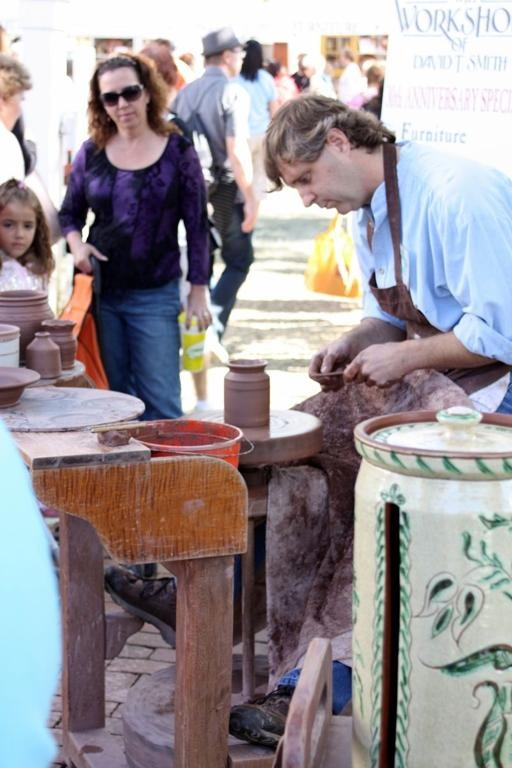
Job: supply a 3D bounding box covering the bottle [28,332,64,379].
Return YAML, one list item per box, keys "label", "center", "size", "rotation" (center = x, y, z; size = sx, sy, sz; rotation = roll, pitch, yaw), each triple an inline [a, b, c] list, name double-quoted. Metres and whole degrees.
- label: "bottle"
  center: [-0.617, -0.081, 3.206]
  size: [0.105, 0.126, 0.124]
  rotation: [-7, 11, -41]

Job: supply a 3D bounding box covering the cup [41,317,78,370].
- label: "cup"
  center: [-0.594, -0.134, 3.431]
  size: [0.134, 0.175, 0.139]
  rotation: [-2, 2, 0]

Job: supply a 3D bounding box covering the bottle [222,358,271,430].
- label: "bottle"
  center: [-0.024, 0.025, 3.083]
  size: [0.128, 0.179, 0.215]
  rotation: [0, 8, -2]

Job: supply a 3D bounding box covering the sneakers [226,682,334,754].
- label: "sneakers"
  center: [0.011, 0.790, 2.717]
  size: [0.146, 0.076, 0.243]
  rotation: [1, 7, 5]

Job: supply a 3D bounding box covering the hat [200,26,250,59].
- label: "hat"
  center: [-0.188, -1.904, 6.360]
  size: [0.241, 0.195, 0.197]
  rotation: [-2, 8, -17]
